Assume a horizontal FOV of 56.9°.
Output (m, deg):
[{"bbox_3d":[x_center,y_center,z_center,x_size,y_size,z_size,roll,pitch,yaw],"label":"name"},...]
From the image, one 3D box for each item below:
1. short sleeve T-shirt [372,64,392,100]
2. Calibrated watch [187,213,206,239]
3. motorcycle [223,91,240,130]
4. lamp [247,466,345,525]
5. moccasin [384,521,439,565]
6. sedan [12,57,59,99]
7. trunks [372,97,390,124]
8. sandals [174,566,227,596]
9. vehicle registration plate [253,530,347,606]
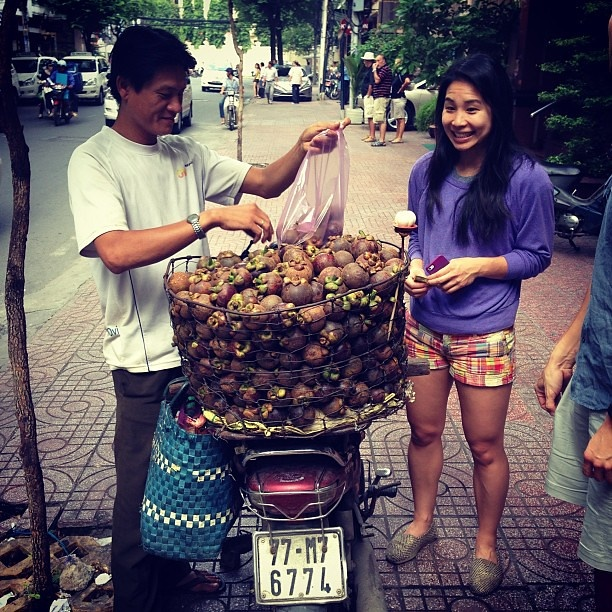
[{"bbox_3d":[1.818,-5.702,14.444,0.576,0.809,0.937,13,12,8],"label":"short sleeve T-shirt"},{"bbox_3d":[-0.378,-0.275,1.952,0.041,0.070,0.072,-25,40,-14],"label":"Calibrated watch"},{"bbox_3d":[-2.578,-6.734,19.689,0.844,0.974,1.745,-1,18,-3],"label":"motorcycle"},{"bbox_3d":[-0.040,0.631,1.864,0.328,0.178,0.177,1,19,4],"label":"lamp"},{"bbox_3d":[0.510,1.164,2.795,0.268,0.090,0.119,-15,10,-41],"label":"moccasin"},{"bbox_3d":[-12.747,-11.206,27.063,1.160,1.167,2.388,15,15,-23],"label":"sedan"},{"bbox_3d":[1.927,-5.195,15.060,0.517,0.842,0.631,6,36,4],"label":"trunks"},{"bbox_3d":[-0.480,1.243,2.576,0.194,0.058,0.113,0,18,-2],"label":"sandals"},{"bbox_3d":[-0.024,0.824,1.811,0.291,0.185,0.137,-1,19,-2],"label":"vehicle registration plate"}]
